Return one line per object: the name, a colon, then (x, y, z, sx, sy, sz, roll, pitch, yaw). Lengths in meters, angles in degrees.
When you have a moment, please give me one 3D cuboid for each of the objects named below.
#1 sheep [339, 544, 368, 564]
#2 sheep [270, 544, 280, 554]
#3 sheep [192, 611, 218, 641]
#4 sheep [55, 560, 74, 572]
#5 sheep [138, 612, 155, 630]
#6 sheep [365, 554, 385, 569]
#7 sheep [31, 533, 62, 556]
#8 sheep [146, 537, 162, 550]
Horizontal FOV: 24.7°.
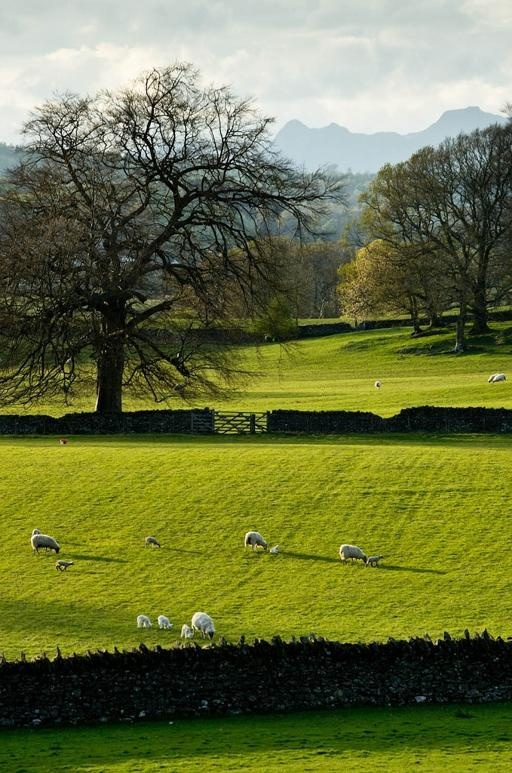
sheep: (2.426, 4.511, 31.492, 1.046, 0.619, 0.322, 1, 8, -7)
sheep: (0.536, 4.565, 32.628, 0.196, 0.199, 0.287, 3, -45, -27)
sheep: (-1.160, 5.362, 26.124, 0.519, 0.530, 0.663, -2, 9, -3)
sheep: (-5.144, 4.795, 31.259, 0.632, 0.366, 0.179, 1, 0, -18)
sheep: (-2.562, 5.426, 27.019, 0.349, 0.312, 0.597, -3, 9, -6)
sheep: (3.177, 4.644, 31.378, 0.541, 0.299, 0.440, -4, 9, -11)
sheep: (-5.784, 4.415, 32.694, 0.910, 0.675, 0.402, 6, 2, -14)
sheep: (-2.909, 4.381, 33.156, 0.423, 0.315, 0.544, -3, 9, -6)
